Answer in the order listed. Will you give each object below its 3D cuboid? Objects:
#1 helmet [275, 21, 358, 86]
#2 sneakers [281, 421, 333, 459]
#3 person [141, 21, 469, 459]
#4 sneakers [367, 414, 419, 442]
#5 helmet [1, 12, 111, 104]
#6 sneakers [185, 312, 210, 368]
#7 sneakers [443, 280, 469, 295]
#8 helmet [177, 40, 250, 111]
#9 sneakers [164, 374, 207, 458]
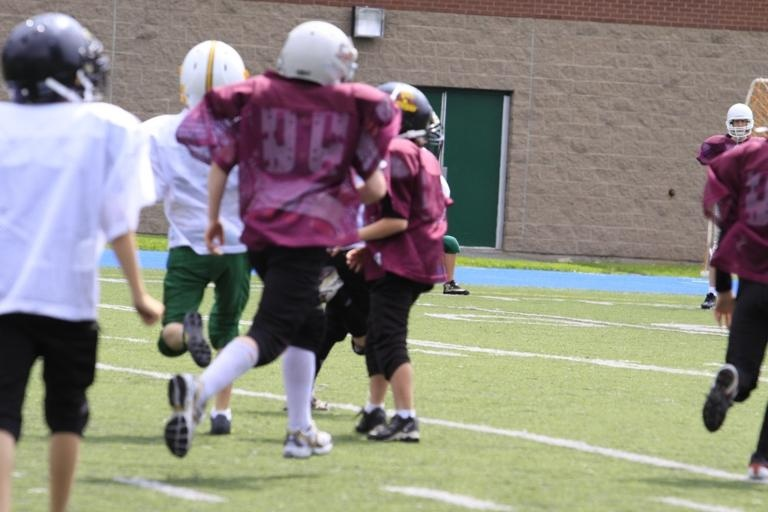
[{"bbox_3d":[-0.360,-1.150,6.863,0.378,0.326,0.436,18,23,5],"label":"helmet"},{"bbox_3d":[-0.459,1.121,7.272,0.146,0.148,0.327,5,6,40],"label":"sneakers"},{"bbox_3d":[-0.587,-0.046,6.741,1.293,2.600,0.779,0,7,-24],"label":"person"},{"bbox_3d":[0.101,1.127,7.685,0.402,0.169,0.141,0,-9,19],"label":"sneakers"},{"bbox_3d":[-1.597,-0.974,5.778,0.551,0.404,0.380,-11,38,-10],"label":"helmet"},{"bbox_3d":[-1.203,0.523,7.529,0.148,0.380,0.178,-8,-24,-23],"label":"sneakers"},{"bbox_3d":[0.987,0.403,15.242,0.461,0.178,0.151,3,-1,-25],"label":"sneakers"},{"bbox_3d":[-1.177,-1.188,7.790,0.414,0.412,0.496,9,28,5],"label":"helmet"},{"bbox_3d":[-1.038,0.845,6.310,0.184,0.445,0.210,2,-11,-4],"label":"sneakers"}]
